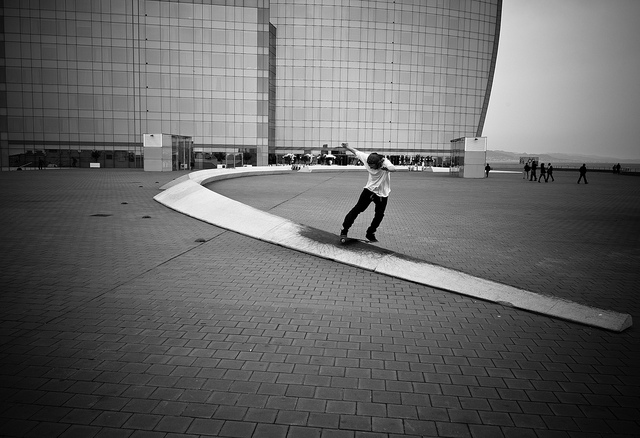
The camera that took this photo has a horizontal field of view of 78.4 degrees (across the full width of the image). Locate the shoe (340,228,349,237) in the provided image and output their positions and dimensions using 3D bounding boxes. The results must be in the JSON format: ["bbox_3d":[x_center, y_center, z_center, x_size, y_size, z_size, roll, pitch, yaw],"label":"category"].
[{"bbox_3d":[0.620,0.313,9.876,0.157,0.241,0.306,1,13,3],"label":"shoe"}]

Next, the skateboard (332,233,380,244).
[{"bbox_3d":[0.914,0.512,9.796,0.870,0.125,0.238,13,11,-4],"label":"skateboard"}]

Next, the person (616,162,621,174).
[{"bbox_3d":[48.660,-8.176,63.941,0.561,1.478,1.891,9,16,34],"label":"person"}]
